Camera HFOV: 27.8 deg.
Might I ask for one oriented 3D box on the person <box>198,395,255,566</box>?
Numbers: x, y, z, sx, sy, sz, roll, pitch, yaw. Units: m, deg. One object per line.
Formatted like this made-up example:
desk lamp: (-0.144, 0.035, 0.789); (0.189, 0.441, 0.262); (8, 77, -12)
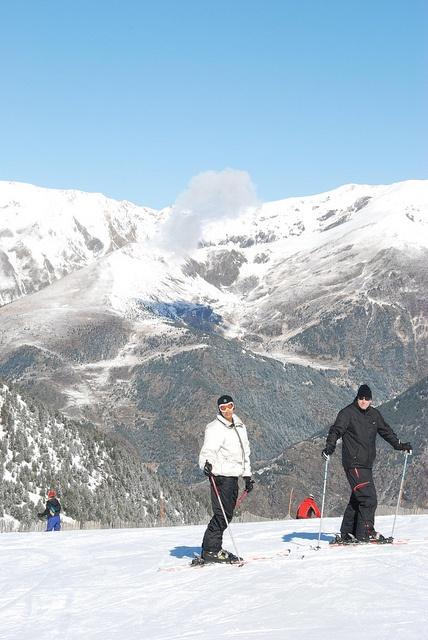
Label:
person: (0.083, 1.888, 9.865); (0.723, 2.051, 0.492); (4, 8, -18)

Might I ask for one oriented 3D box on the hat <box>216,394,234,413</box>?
hat: (0.128, 0.923, 9.845); (0.174, 0.212, 0.211); (-7, 32, -4)

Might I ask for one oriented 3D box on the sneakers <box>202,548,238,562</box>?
sneakers: (0.076, 2.754, 10.222); (0.506, 0.193, 0.168); (1, -2, -15)

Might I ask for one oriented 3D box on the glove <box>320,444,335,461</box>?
glove: (1.408, 1.589, 10.479); (0.134, 0.090, 0.221); (-37, -8, 22)

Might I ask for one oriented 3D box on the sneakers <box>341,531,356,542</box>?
sneakers: (1.760, 2.817, 11.227); (0.157, 0.155, 0.097); (-5, -10, 13)

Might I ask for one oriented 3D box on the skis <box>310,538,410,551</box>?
skis: (1.937, 2.935, 11.322); (1.298, 0.172, 0.292); (1, -3, -16)

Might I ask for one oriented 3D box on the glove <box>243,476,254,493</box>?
glove: (0.395, 1.881, 9.854); (0.080, 0.183, 0.139); (27, -42, -22)

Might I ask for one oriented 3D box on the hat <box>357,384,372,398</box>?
hat: (1.913, 0.911, 10.929); (0.162, 0.174, 0.230); (8, -17, 13)

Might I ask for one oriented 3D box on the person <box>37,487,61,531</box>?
person: (-3.030, 3.590, 16.193); (0.281, 0.667, 0.904); (6, 8, -10)

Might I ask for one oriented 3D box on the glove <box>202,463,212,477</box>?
glove: (-0.074, 1.656, 9.576); (0.048, 0.142, 0.108); (-1, -1, 4)
